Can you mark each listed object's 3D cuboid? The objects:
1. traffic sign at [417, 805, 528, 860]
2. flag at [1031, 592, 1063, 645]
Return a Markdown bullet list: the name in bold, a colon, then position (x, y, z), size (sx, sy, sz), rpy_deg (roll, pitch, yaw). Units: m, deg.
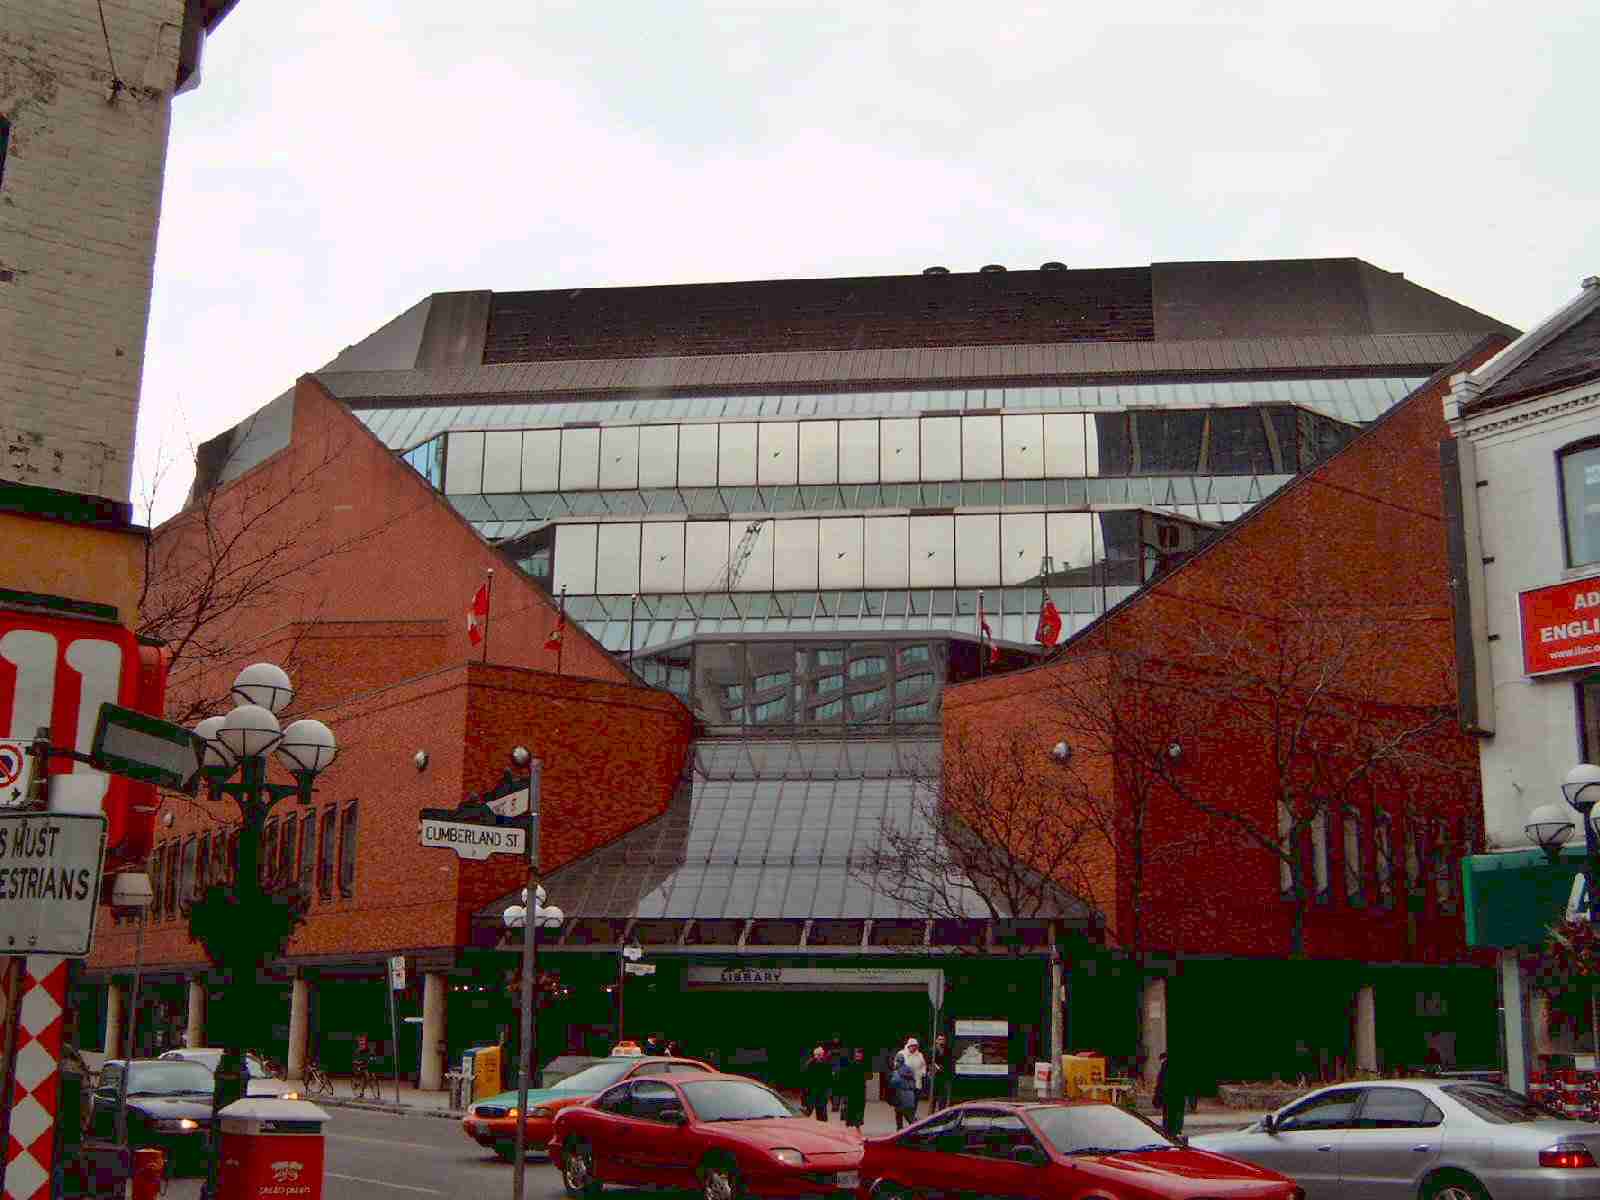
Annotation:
- **traffic sign**: position (-3.957, 2.782, 21.813), size (0.347, 0.537, 1.521), rpy_deg (-16, -20, 43)
- **flag**: position (7.765, 0.546, 57.020), size (1.230, 1.115, 2.848), rpy_deg (10, -17, 12)
